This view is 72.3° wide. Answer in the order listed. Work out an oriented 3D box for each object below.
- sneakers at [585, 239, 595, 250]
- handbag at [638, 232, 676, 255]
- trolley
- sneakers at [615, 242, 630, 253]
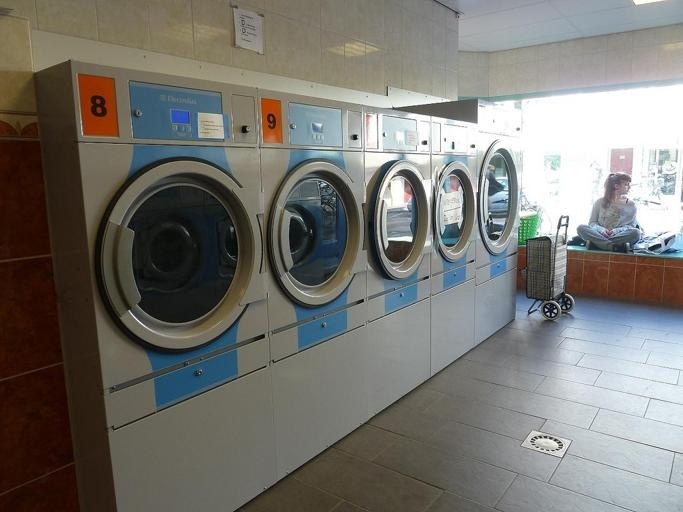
[{"bbox_3d":[3.135,-0.139,5.929,0.083,0.122,0.164,-8,-13,6],"label":"sneakers"},{"bbox_3d":[3.761,-0.134,5.587,0.350,0.115,0.296,-9,23,32],"label":"handbag"},{"bbox_3d":[2.341,0.098,5.223,0.488,1.163,0.670,6,14,30],"label":"trolley"},{"bbox_3d":[3.424,-0.098,5.711,0.143,0.118,0.129,4,-5,45],"label":"sneakers"}]
